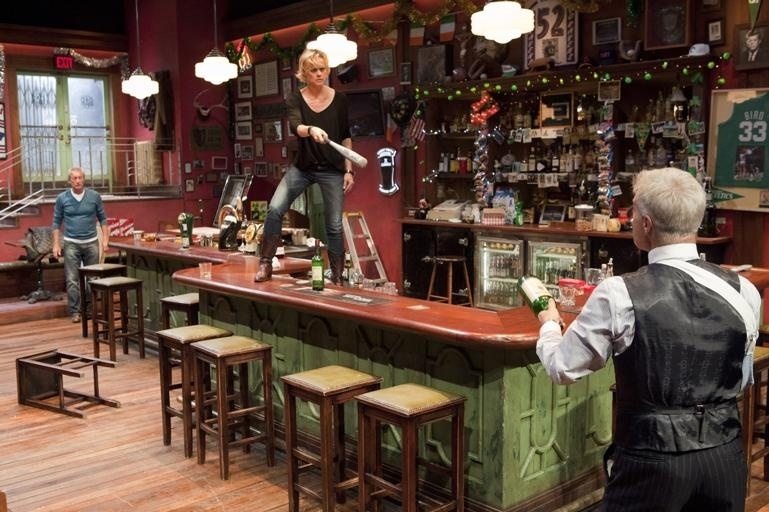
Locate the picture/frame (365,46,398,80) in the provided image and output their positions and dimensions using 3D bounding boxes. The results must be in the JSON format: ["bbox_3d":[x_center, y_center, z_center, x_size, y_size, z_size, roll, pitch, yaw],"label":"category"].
[{"bbox_3d":[-0.027,-3.136,9.740,0.612,0.529,0.050,4,7,43],"label":"picture/frame"}]

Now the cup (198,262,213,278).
[{"bbox_3d":[-1.667,0.133,5.666,0.152,0.166,0.158,-1,-3,0],"label":"cup"}]

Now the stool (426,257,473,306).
[{"bbox_3d":[0.936,0.395,8.469,0.649,0.711,0.646,5,2,39],"label":"stool"}]

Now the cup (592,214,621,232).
[{"bbox_3d":[2.617,-0.398,7.182,0.190,0.246,0.358,-9,11,-40],"label":"cup"}]

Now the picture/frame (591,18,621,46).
[{"bbox_3d":[2.727,-2.776,7.440,0.439,0.367,0.061,3,4,40],"label":"picture/frame"}]

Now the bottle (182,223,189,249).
[{"bbox_3d":[-2.477,-0.268,7.542,0.090,0.293,0.093,-1,12,0],"label":"bottle"}]

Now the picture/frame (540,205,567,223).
[{"bbox_3d":[2.256,-0.567,8.074,0.252,0.252,0.019,-3,-27,31],"label":"picture/frame"}]

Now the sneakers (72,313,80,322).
[{"bbox_3d":[-4.667,0.941,9.211,0.092,0.093,0.202,1,-3,-25],"label":"sneakers"}]

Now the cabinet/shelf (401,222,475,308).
[{"bbox_3d":[0.630,0.140,8.877,1.264,1.214,0.504,6,-11,-28],"label":"cabinet/shelf"}]

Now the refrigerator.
[{"bbox_3d":[1.663,0.109,6.759,1.055,0.989,0.414,1,1,44],"label":"refrigerator"}]

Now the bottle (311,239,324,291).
[{"bbox_3d":[-0.551,0.102,4.984,0.092,0.304,0.287,-3,12,-8],"label":"bottle"}]
